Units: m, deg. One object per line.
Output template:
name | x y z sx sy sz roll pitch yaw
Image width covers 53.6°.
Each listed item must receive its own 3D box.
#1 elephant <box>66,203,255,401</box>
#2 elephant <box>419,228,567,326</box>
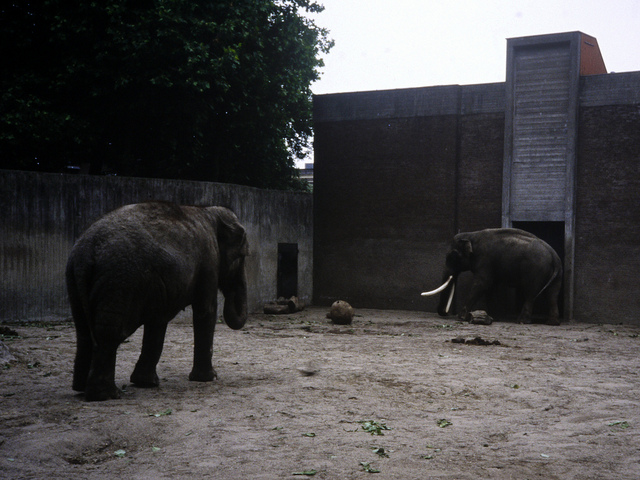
elephant | -1.928 0.718 8.533 1.293 2.409 2.879 6 5 35
elephant | 4.292 0.863 15.243 2.900 2.247 2.549 4 5 29
